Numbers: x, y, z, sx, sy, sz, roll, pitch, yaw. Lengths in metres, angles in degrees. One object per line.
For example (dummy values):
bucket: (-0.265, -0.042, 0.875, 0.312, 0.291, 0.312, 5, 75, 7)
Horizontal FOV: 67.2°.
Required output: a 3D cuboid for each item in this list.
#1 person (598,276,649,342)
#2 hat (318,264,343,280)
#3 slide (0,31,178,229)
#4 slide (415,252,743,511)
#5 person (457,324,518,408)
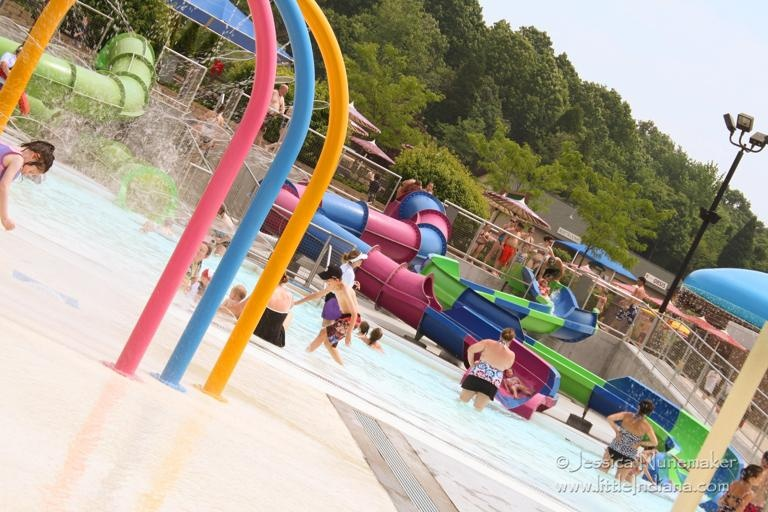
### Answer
person: (6.462, 1.499, 15.625, 0.913, 1.723, 0.898, 26, 1, -45)
hat: (-0.732, 0.215, 7.932, 0.259, 0.161, 0.180, 4, 8, -1)
slide: (-4.932, -2.156, 11.058, 3.340, 1.361, 2.909, 21, 19, -31)
slide: (3.997, 2.370, 11.239, 3.317, 1.337, 5.617, 32, 11, -37)
person: (1.580, 1.686, 8.900, 0.602, 1.404, 0.336, 27, 1, 11)
